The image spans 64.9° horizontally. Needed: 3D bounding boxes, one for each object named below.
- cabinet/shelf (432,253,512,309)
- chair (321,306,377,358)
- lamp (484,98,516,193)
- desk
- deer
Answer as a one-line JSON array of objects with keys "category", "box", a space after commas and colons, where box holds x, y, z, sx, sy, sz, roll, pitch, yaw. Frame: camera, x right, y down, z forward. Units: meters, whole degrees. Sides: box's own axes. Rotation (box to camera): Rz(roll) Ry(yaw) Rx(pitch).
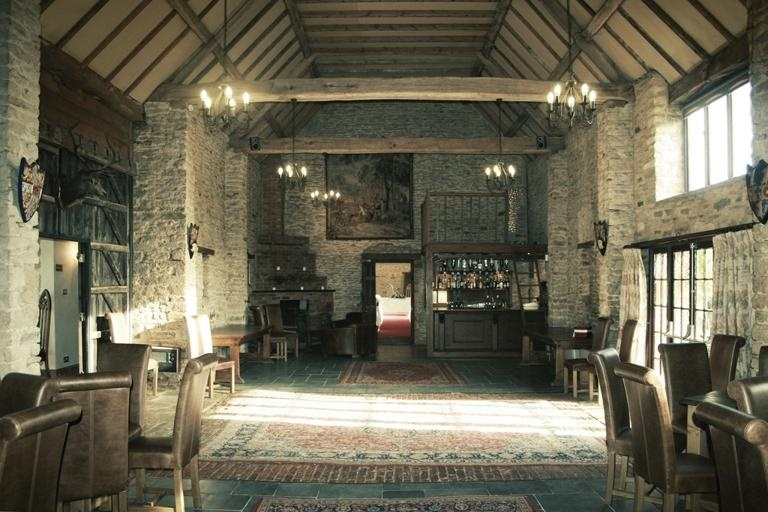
[{"category": "cabinet/shelf", "box": [2.047, 0.581, 14.157, 1.426, 0.770, 0.406, 0, -6, 0]}, {"category": "chair", "box": [-0.786, 1.860, 14.516, 1.239, 0.740, 1.710, 0, 9, 0]}, {"category": "lamp", "box": [2.709, -2.608, 13.956, 0.741, 2.705, 0.738, 1, 4, -20]}, {"category": "desk", "box": [3.235, 1.372, 11.059, 0.934, 0.648, 2.302, 0, -3, 1]}, {"category": "deer", "box": [-4.818, -1.385, 9.844, 0.573, 1.178, 1.235, -1, 10, -5]}]
